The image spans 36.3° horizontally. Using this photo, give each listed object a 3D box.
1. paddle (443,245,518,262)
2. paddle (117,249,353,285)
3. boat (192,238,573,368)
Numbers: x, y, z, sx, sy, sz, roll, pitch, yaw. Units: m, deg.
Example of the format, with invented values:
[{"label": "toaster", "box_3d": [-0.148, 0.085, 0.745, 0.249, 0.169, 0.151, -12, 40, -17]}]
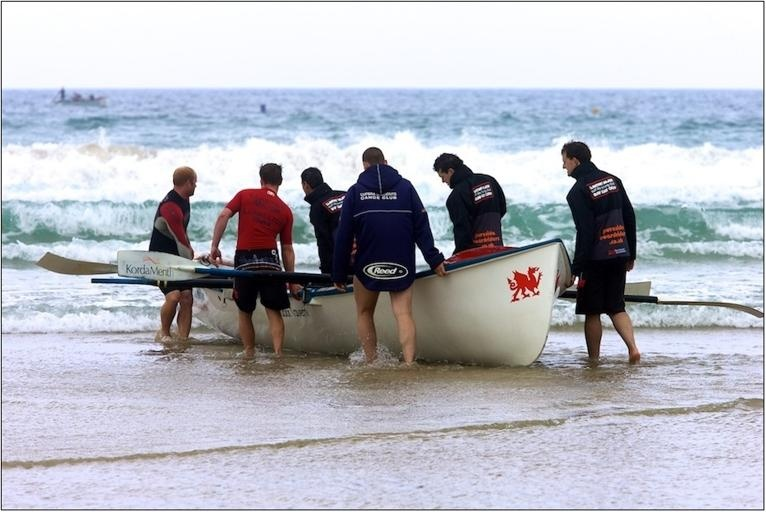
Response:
[{"label": "paddle", "box_3d": [1.271, -0.019, 15.384, 0.862, 0.193, 0.623, -1, 3, 4]}, {"label": "paddle", "box_3d": [-2.161, 0.249, 16.579, 3.534, 0.355, 0.377, 7, 8, -41]}, {"label": "boat", "box_3d": [0.144, 0.637, 16.179, 4.678, 1.139, 1.888, 1, -4, 26]}]
